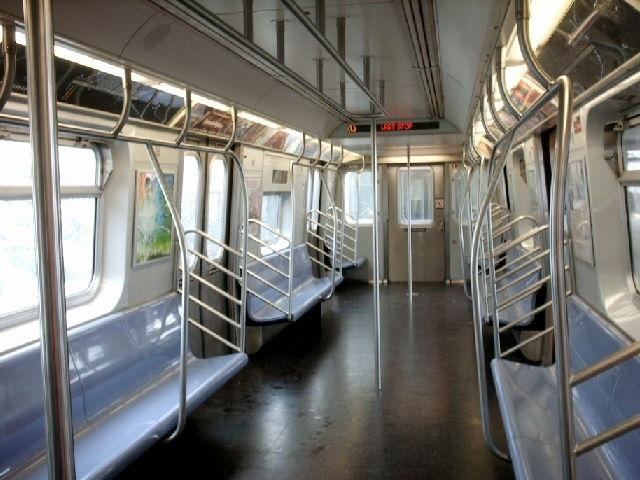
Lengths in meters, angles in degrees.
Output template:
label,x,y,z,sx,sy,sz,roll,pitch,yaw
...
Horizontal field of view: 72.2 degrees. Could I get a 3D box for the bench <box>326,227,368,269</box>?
label,x,y,z,sx,sy,sz,roll,pitch,yaw
bench,0.551,-0.101,10.020,0.741,1.106,1.462,2,2,16

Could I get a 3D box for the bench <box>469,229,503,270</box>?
label,x,y,z,sx,sy,sz,roll,pitch,yaw
bench,1.906,0.111,5.040,0.209,0.286,0.686,0,6,13

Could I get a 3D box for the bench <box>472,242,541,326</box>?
label,x,y,z,sx,sy,sz,roll,pitch,yaw
bench,2.107,0.510,4.891,0.369,0.413,1.304,-1,4,10
